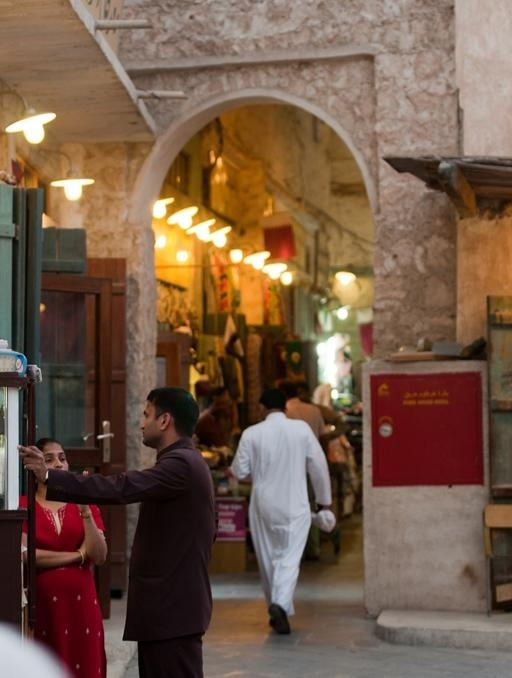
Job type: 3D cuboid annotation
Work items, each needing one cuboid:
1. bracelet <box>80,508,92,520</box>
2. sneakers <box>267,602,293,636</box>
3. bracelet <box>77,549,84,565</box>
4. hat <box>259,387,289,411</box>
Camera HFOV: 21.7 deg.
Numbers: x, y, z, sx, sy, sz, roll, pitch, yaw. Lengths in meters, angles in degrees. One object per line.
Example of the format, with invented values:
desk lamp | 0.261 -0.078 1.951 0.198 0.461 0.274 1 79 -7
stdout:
bracelet | -0.782 0.792 6.098 0.043 0.057 0.027 -3 22 0
sneakers | 0.148 1.749 8.379 0.108 0.202 0.086 -32 -17 24
bracelet | -0.826 1.029 6.304 0.023 0.055 0.040 17 8 27
hat | 0.128 0.417 9.252 0.133 0.161 0.166 0 4 0
